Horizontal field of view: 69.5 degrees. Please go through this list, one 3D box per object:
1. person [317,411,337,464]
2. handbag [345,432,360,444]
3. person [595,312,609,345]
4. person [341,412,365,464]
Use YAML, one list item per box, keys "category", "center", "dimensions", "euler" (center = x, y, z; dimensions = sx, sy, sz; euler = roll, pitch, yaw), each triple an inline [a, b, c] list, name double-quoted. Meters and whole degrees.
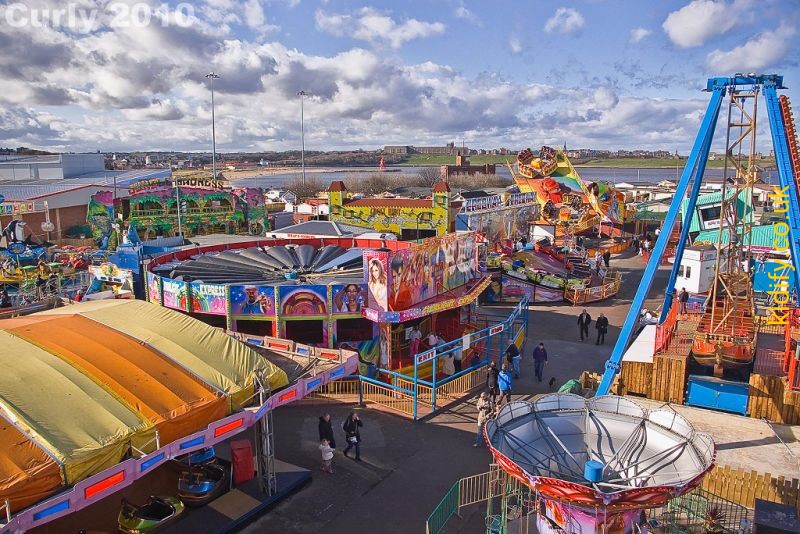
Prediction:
- category: "person"
  center: [-2.248, 5.237, 17.808]
  dimensions: [0.419, 1.812, 0.872]
  euler: [-5, 14, -10]
- category: "handbag"
  center: [-1.482, 5.354, 18.151]
  dimensions: [0.401, 0.511, 0.186]
  euler: [-1, 14, 7]
- category: "person"
  center: [9.938, 2.974, 28.529]
  dimensions: [0.510, 1.386, 1.757]
  euler: [2, 14, 18]
- category: "person"
  center: [-1.550, 5.165, 18.792]
  dimensions: [0.604, 1.508, 1.709]
  euler: [-4, 14, -5]
